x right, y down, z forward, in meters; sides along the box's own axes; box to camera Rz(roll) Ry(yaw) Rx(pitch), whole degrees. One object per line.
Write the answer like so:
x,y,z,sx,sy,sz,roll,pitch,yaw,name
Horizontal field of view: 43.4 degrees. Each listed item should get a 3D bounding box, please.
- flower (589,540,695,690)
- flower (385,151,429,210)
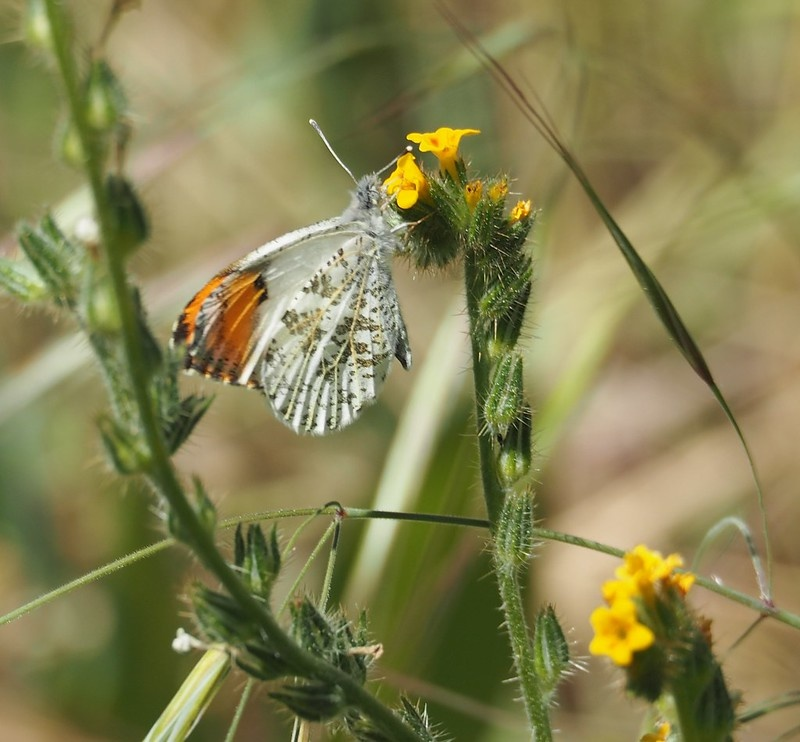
0.438,0.425,1.721,0.081,0.201,0.181,43,-19,-27,flower
0.026,-0.399,2.191,0.102,0.121,0.046,-32,-32,33,flower
